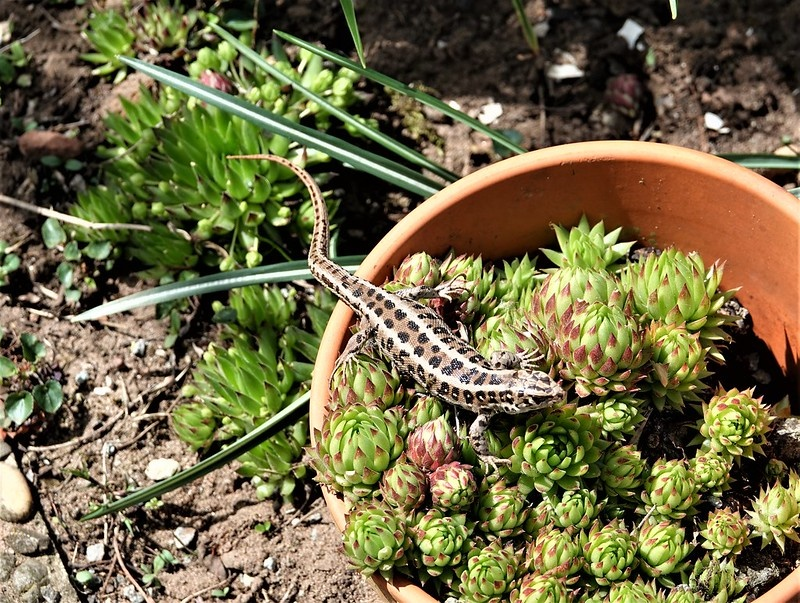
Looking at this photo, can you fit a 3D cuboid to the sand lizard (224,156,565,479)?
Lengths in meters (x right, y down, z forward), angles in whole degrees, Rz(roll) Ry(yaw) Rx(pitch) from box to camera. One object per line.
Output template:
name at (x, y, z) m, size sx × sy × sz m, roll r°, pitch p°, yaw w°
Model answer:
sand lizard at (0.028, 0.046, 3.438) m, size 0.519 × 0.177 × 1.434 m, roll -38°, pitch 68°, yaw -27°

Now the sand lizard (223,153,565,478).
sand lizard at (0.028, 0.034, 3.432) m, size 0.524 × 0.179 × 1.427 m, roll -37°, pitch 68°, yaw -26°

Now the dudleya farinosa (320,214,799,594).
dudleya farinosa at (0.612, 0.490, 3.337) m, size 1.743 × 0.638 × 1.368 m, roll -18°, pitch 66°, yaw 5°
